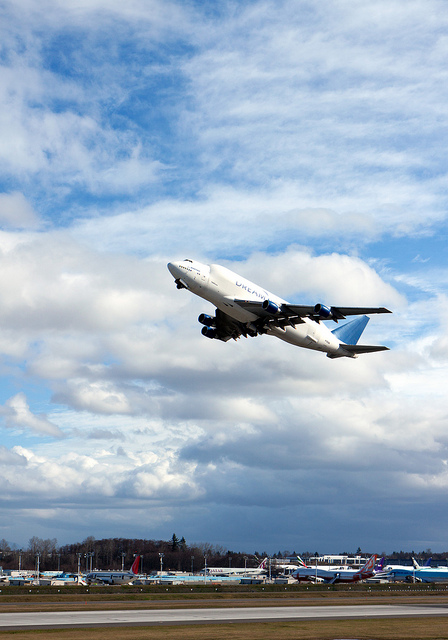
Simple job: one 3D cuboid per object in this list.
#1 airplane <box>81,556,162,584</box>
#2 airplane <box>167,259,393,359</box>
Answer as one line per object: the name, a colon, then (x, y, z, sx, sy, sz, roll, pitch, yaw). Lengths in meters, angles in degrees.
airplane: (-17.883, 42.163, 198.082, 11.151, 5.111, 27.951, -3, -13, -5)
airplane: (5.385, -0.630, 125.759, 28.080, 6.716, 14.243, 2, -15, -22)
